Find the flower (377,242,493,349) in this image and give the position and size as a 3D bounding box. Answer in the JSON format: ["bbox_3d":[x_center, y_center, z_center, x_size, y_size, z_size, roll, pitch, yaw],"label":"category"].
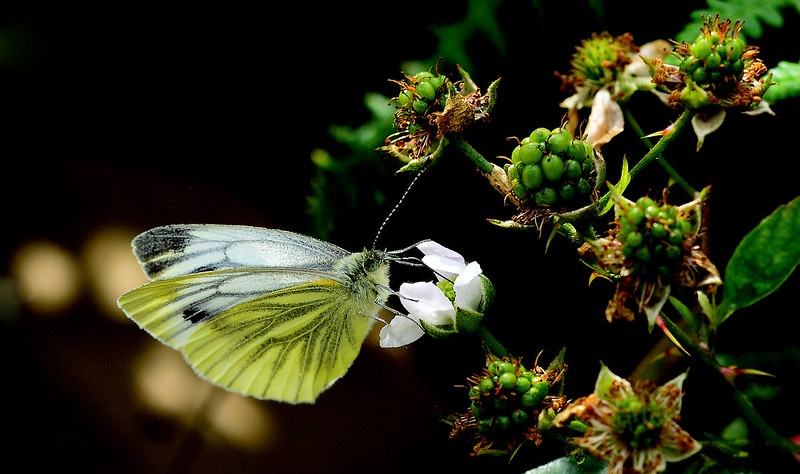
[{"bbox_3d":[0.162,0.195,2.275,0.350,0.170,0.391,-35,2,-28],"label":"flower"}]
